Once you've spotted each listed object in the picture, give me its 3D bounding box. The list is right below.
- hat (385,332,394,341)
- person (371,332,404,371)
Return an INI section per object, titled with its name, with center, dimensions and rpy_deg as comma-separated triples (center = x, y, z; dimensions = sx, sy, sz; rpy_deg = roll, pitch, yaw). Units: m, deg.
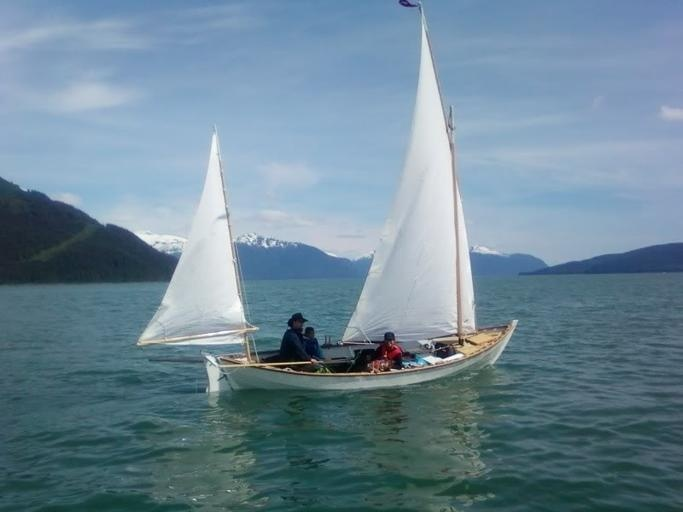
[hat]
center = 2.819, 4.771, 32.280
dimensions = 0.463, 0.560, 0.731
rpy_deg = 0, 6, 18
[person]
center = 2.599, 5.592, 32.072
dimensions = 1.827, 2.155, 0.880
rpy_deg = -4, 6, -17
